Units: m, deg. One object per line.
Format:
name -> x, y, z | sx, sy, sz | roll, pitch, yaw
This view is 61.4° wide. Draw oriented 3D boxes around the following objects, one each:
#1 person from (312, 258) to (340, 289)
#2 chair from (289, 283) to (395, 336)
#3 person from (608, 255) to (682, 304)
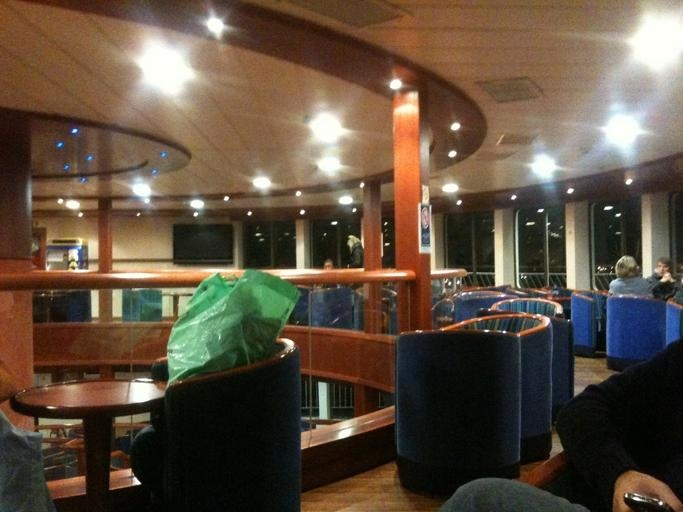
person -> -0.169, 0.163, 6.598 | 0.232, 0.210, 0.700 | -1, 33, -2
chair -> 0.032, 0.416, 4.076 | 0.407, 0.390, 1.438 | -6, -1, 19
person -> 3.579, 0.293, 6.759 | 0.811, 0.633, 0.550 | -6, -1, -1
